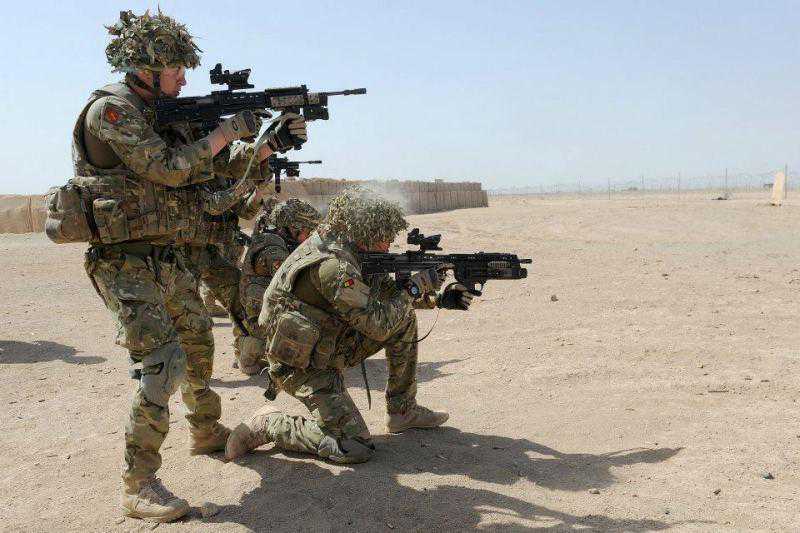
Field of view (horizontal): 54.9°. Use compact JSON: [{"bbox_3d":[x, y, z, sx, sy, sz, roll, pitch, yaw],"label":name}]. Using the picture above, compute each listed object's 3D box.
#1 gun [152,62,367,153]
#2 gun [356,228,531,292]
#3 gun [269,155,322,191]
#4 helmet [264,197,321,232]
[{"bbox_3d":[-1.218,-1.425,6.821,2.038,0.689,0.249,-15,26,-41],"label":"gun"},{"bbox_3d":[0.432,-0.030,7.024,1.817,0.570,0.271,1,1,-28],"label":"gun"},{"bbox_3d":[-1.663,-1.353,11.338,1.168,0.522,0.196,2,-2,28],"label":"gun"},{"bbox_3d":[-1.231,-0.598,8.920,0.581,0.286,0.405,2,9,-8],"label":"helmet"}]
